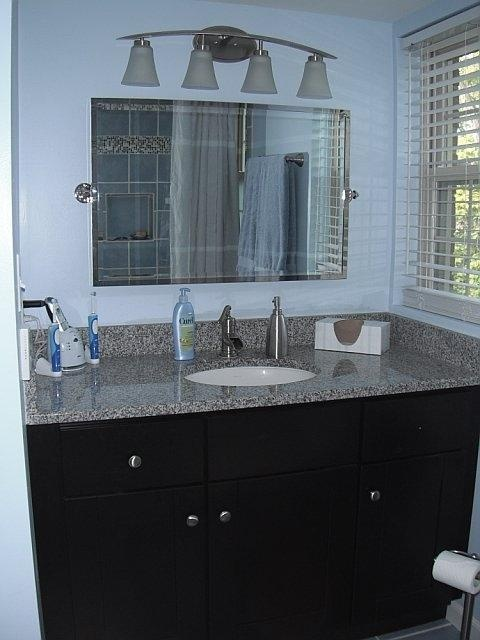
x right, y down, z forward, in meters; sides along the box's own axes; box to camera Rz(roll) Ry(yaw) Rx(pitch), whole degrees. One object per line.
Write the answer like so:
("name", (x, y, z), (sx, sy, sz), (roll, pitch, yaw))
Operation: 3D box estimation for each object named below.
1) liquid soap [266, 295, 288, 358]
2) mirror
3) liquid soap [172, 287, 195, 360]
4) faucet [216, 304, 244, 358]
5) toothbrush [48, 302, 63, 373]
("liquid soap", (0.138, 0.020, 2.067), (0.072, 0.211, 0.163), (1, 10, 19))
("mirror", (-0.065, -0.433, 2.073), (0.921, 0.686, 0.012), (-2, 23, -11))
("liquid soap", (-0.195, 0.008, 2.033), (0.072, 0.244, 0.181), (0, 9, 12))
("faucet", (-0.036, 0.037, 2.035), (0.073, 0.178, 0.069), (-6, 10, -22))
("toothbrush", (-0.563, 0.053, 1.733), (0.039, 0.230, 0.113), (-5, 10, -18))
